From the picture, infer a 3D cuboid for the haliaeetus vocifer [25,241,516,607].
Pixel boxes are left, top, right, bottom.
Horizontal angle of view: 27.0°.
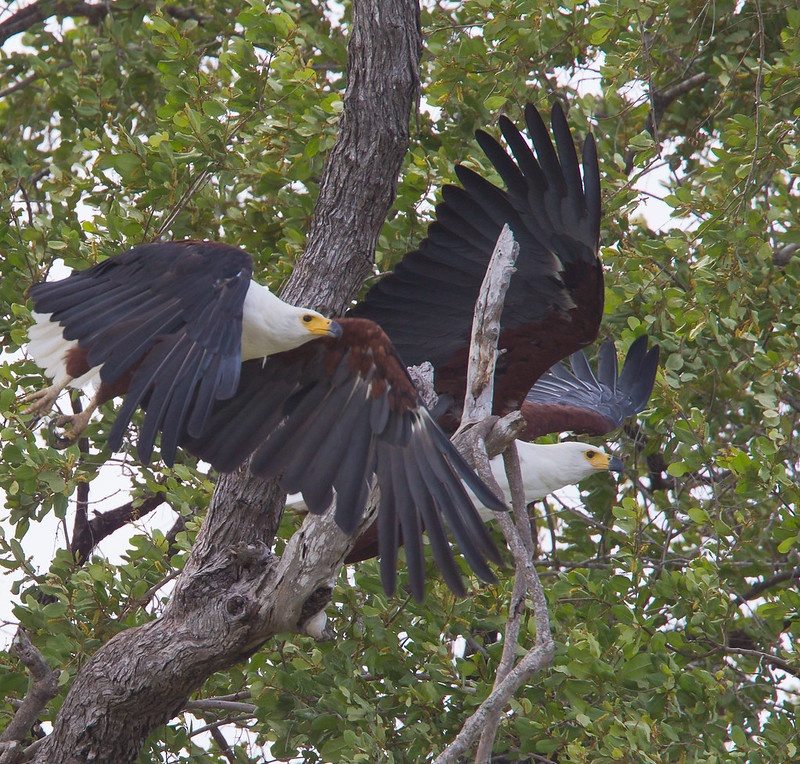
[{"bbox_3d":[-0.566,0.139,6.511,2.170,1.465,0.607,20,-54,7],"label":"haliaeetus vocifer"}]
